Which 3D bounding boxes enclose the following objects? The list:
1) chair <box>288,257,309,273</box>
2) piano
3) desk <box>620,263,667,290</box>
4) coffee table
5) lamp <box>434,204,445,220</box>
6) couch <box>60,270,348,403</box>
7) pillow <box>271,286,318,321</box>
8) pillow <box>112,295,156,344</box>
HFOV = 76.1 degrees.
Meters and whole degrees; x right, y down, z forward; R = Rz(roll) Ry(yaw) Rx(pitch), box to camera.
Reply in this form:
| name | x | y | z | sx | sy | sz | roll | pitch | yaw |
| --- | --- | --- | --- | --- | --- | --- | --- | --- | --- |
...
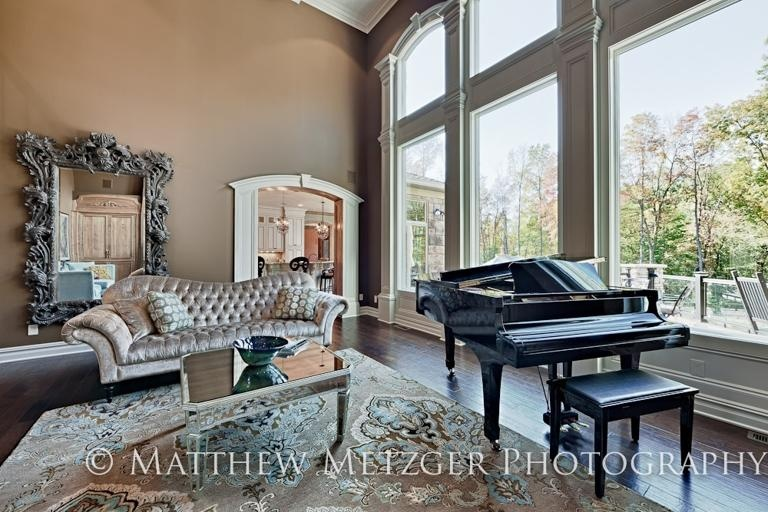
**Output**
| name | x | y | z | sx | sy | sz | roll | pitch | yaw |
| --- | --- | --- | --- | --- | --- | --- | --- | --- | --- |
| chair | -1.988 | 0.232 | 11.445 | 0.349 | 0.507 | 0.369 | -1 | 10 | -20 |
| piano | 1.576 | 0.858 | 5.486 | 2.029 | 1.652 | 2.440 | -2 | 5 | -24 |
| desk | 2.914 | 0.222 | 5.527 | 0.310 | 0.350 | 0.382 | 6 | -6 | -29 |
| coffee table | -1.163 | 1.474 | 4.900 | 1.447 | 0.707 | 1.070 | -6 | 9 | -41 |
| lamp | 0.855 | -0.662 | 7.636 | 0.047 | 0.180 | 0.202 | 1 | 5 | -36 |
| couch | -1.939 | 0.809 | 6.209 | 3.009 | 1.176 | 0.968 | -2 | 2 | -30 |
| pillow | -1.139 | 0.629 | 6.389 | 0.501 | 0.426 | 0.146 | 3 | -25 | 13 |
| pillow | -2.890 | 0.735 | 5.683 | 0.415 | 0.425 | 0.567 | -3 | 4 | -34 |
